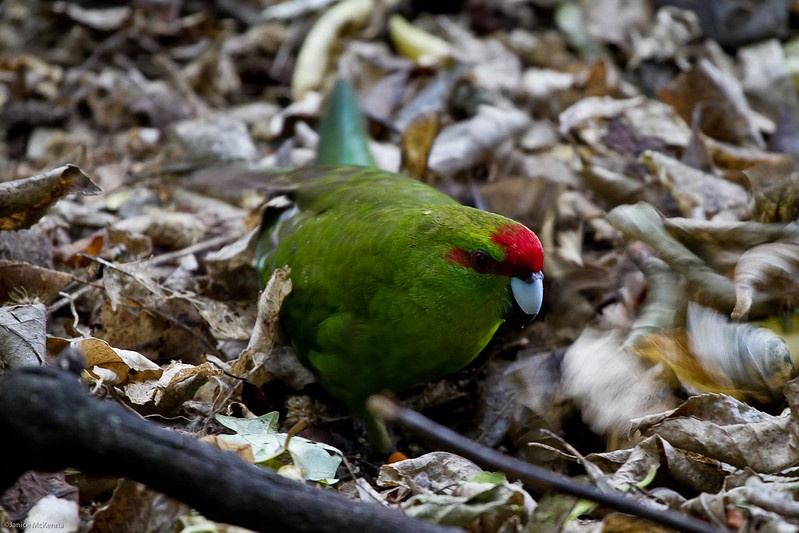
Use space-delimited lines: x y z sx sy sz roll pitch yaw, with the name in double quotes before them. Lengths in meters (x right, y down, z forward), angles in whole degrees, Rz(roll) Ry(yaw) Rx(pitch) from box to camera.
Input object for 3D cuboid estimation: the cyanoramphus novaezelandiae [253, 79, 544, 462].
"cyanoramphus novaezelandiae" -0.136 -0.050 3.210 0.565 0.712 1.702 2 26 -32
